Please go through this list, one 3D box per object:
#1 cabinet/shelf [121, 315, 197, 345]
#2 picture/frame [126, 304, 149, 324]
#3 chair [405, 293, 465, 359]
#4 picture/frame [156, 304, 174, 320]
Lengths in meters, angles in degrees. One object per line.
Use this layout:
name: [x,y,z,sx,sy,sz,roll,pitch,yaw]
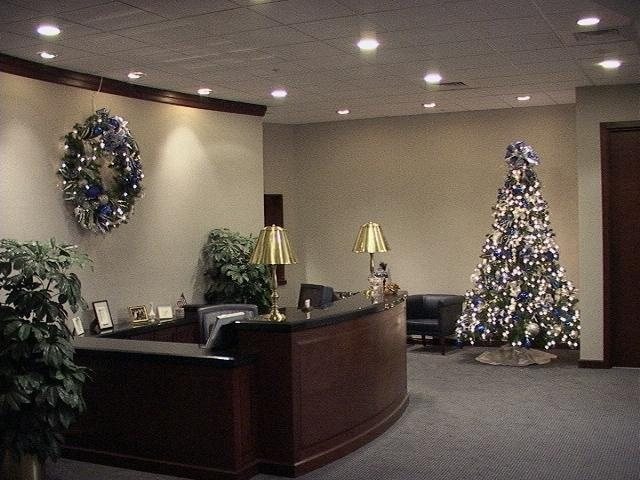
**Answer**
cabinet/shelf: [-2.157,1.326,6.155,0.256,0.378,1.157,-1,-2,25]
picture/frame: [-2.564,1.046,6.211,0.106,0.235,0.281,-25,-16,35]
chair: [2.095,1.570,8.379,1.272,1.026,1.158,-1,-3,35]
picture/frame: [-2.286,1.062,6.507,0.234,0.178,0.078,2,-16,-36]
